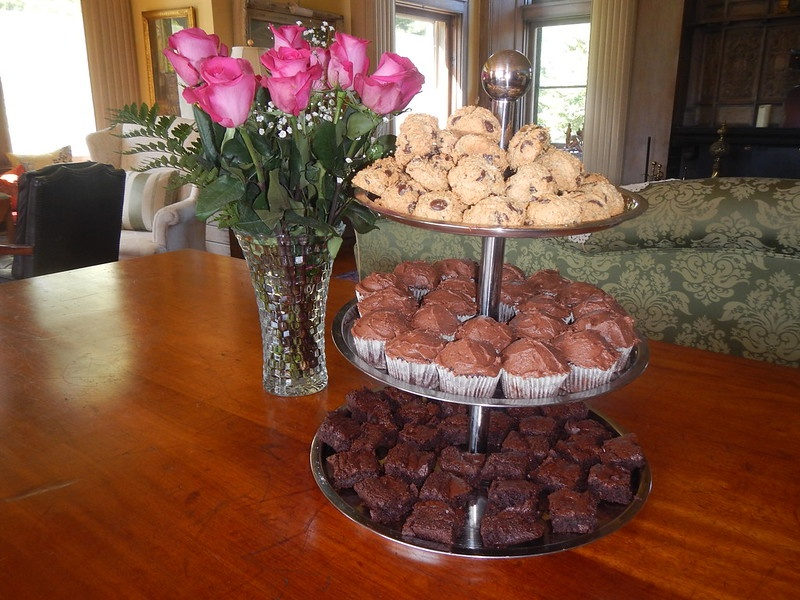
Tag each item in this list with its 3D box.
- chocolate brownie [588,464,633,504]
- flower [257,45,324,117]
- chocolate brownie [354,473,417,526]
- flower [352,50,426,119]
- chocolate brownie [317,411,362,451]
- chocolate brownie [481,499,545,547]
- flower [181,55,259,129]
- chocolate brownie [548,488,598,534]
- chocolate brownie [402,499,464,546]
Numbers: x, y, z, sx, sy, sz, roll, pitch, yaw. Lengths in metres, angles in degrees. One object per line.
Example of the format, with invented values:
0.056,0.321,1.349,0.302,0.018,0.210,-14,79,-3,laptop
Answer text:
0.303,0.262,0.818,0.061,0.038,0.060,6,19,18,chocolate brownie
-0.157,-0.325,0.836,0.081,0.094,0.078,-4,20,-12,flower
-0.023,0.276,0.786,0.065,0.020,0.062,-20,41,-34,chocolate brownie
-0.022,-0.328,0.881,0.112,0.079,0.105,8,33,-25,flower
-0.094,0.210,0.911,0.060,0.026,0.057,34,64,9,chocolate brownie
0.150,0.294,0.736,0.066,0.020,0.044,-3,31,-4,chocolate brownie
-0.255,-0.295,0.806,0.105,0.097,0.078,-4,19,-11,flower
0.234,0.284,0.765,0.067,0.034,0.062,5,19,15,chocolate brownie
0.046,0.295,0.757,0.073,0.032,0.051,5,19,16,chocolate brownie
